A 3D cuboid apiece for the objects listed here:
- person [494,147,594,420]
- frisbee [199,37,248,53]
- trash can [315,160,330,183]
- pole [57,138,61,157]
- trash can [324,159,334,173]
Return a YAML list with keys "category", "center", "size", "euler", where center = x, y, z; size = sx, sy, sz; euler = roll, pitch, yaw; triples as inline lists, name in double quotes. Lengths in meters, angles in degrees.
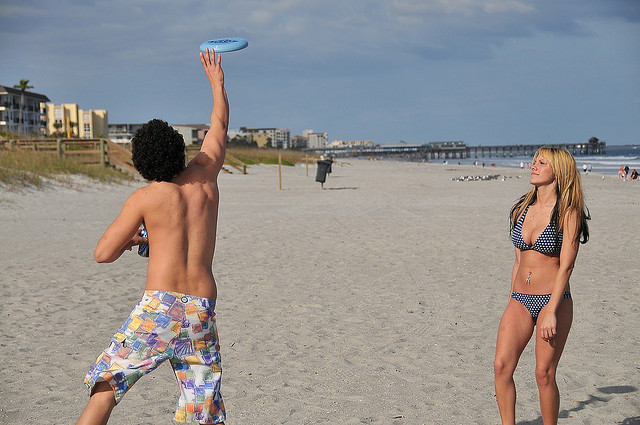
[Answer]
- category: "person"
  center: [2.192, 0.762, 6.944]
  size: [0.726, 2.720, 1.027]
  euler: [6, 15, 22]
- category: "frisbee"
  center: [-0.896, -1.569, 6.676]
  size: [0.417, 0.130, 0.649]
  euler: [-3, 15, -12]
- category: "trash can"
  center: [0.115, -1.667, 28.606]
  size: [0.513, 1.022, 1.088]
  euler: [0, 14, 0]
- category: "pole"
  center: [-10.065, -2.497, 27.163]
  size: [0.146, 0.616, 0.559]
  euler: [-5, 15, -20]
- category: "trash can"
  center: [0.411, -2.054, 31.267]
  size: [0.480, 0.660, 0.614]
  euler: [2, 5, 33]
